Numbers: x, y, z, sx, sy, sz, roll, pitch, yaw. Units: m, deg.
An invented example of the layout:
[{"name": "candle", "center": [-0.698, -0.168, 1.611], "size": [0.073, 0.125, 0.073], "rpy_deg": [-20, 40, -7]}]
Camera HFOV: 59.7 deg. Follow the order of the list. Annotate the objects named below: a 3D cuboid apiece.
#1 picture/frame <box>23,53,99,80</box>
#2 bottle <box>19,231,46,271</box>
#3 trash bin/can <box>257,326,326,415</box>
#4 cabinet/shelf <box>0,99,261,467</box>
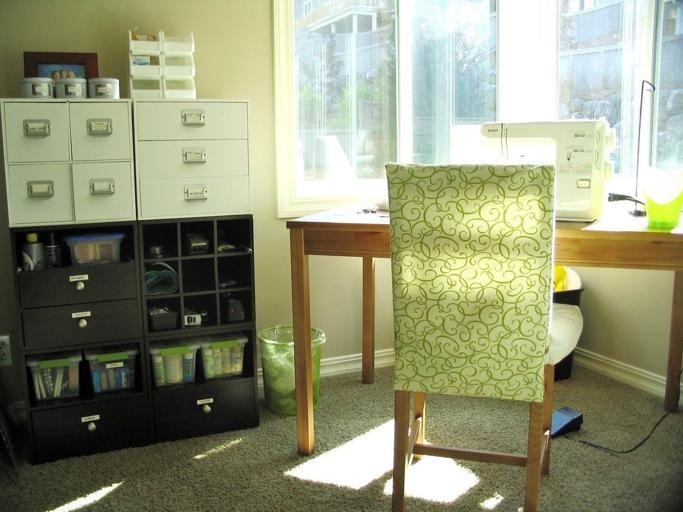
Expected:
[{"name": "picture/frame", "center": [-1.321, -0.886, 2.770], "size": [0.182, 0.129, 0.018], "rpy_deg": [-3, 3, -10]}, {"name": "bottle", "center": [-1.401, -0.028, 2.710], "size": [0.089, 0.165, 0.116], "rpy_deg": [3, 12, 36]}, {"name": "trash bin/can", "center": [-0.264, 0.589, 3.240], "size": [0.384, 0.406, 0.423], "rpy_deg": [1, 6, 27]}, {"name": "cabinet/shelf", "center": [-0.958, 0.074, 2.854], "size": [1.118, 1.638, 0.308], "rpy_deg": [-7, 10, -16]}]
